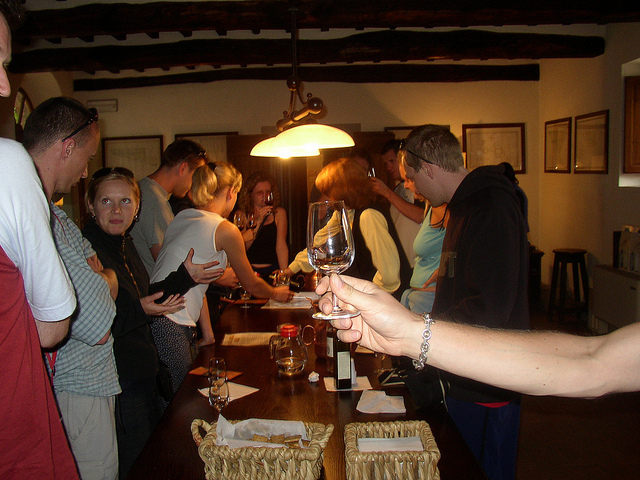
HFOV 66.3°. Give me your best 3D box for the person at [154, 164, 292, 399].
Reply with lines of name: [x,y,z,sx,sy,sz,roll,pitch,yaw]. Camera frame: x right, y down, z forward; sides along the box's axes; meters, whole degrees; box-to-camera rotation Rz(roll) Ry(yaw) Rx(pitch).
person: [-0.730,0.410,3.253,0.925,1.822,0.535,-1,20,-39]

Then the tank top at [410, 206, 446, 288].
tank top: [0.694,0.072,3.130,0.141,0.507,0.260,-3,10,-12]

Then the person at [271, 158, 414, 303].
person: [0.279,-0.209,3.887,0.909,1.369,0.808,-11,15,-25]

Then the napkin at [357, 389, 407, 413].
napkin: [0.266,0.685,2.066,0.202,0.027,0.165,1,9,13]

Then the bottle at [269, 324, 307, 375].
bottle: [-0.175,0.526,2.360,0.199,0.224,0.155,-2,-1,-10]

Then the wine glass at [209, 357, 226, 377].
wine glass: [-0.451,0.564,2.167,0.067,0.074,0.070,-5,-8,37]

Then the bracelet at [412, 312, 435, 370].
bracelet: [0.293,0.291,1.392,0.029,0.134,0.101,7,-12,-1]

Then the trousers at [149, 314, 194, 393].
trousers: [-0.821,0.626,2.666,0.205,0.399,0.281,-21,-15,-21]
